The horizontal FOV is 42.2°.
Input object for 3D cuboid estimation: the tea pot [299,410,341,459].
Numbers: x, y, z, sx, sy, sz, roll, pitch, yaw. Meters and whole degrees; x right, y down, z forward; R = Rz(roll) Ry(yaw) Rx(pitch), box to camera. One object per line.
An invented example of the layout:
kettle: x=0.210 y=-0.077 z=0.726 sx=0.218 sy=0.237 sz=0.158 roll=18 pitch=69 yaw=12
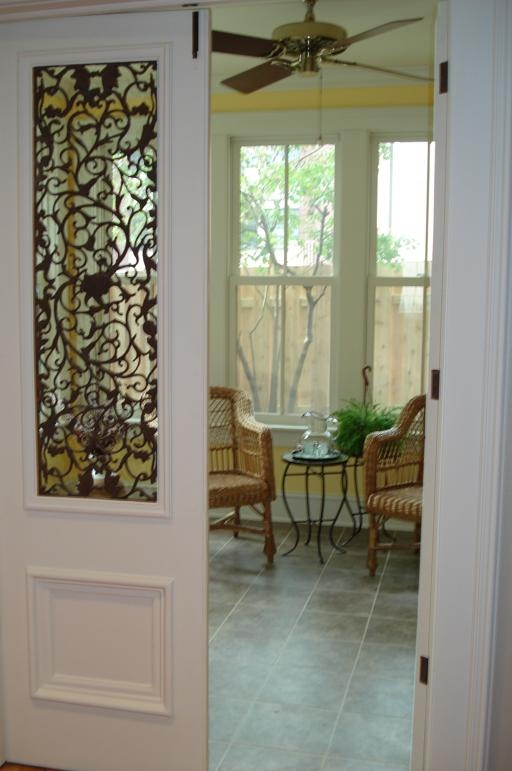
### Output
tea pot: x=0.391 y=0.300 z=3.947 sx=0.273 sy=0.310 sz=0.202 roll=2 pitch=-2 yaw=-18

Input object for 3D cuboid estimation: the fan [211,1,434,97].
fan: x=0.192 y=-1.254 z=2.558 sx=0.860 sy=0.145 sz=0.554 roll=2 pitch=3 yaw=27
